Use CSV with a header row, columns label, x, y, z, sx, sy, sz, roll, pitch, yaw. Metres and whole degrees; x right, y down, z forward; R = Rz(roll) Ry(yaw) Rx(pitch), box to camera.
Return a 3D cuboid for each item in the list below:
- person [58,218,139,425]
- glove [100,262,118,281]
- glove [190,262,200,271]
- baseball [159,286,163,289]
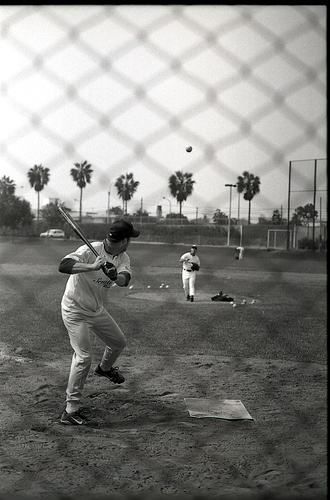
label,x,y,z,sx,sy,sz,roll,pitch,yaw
person,-0.559,0.533,4.513,0.625,1.600,0.991,2,0,-9
glove,-0.425,0.156,4.099,0.054,0.140,0.098,-34,-2,29
glove,0.691,0.366,12.659,0.180,0.193,0.408,2,-1,2
baseball,-0.103,1.042,15.319,0.066,0.072,0.068,-1,-2,31
